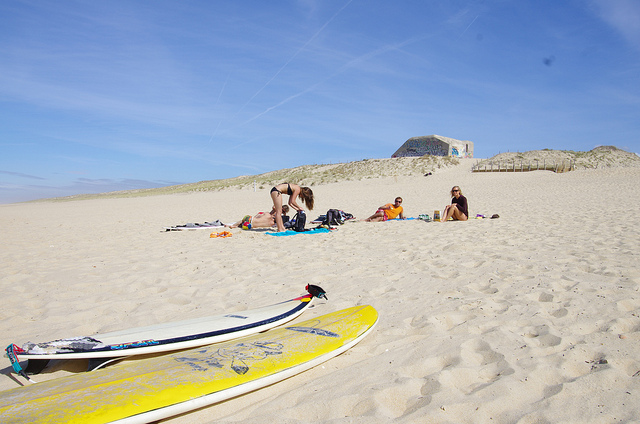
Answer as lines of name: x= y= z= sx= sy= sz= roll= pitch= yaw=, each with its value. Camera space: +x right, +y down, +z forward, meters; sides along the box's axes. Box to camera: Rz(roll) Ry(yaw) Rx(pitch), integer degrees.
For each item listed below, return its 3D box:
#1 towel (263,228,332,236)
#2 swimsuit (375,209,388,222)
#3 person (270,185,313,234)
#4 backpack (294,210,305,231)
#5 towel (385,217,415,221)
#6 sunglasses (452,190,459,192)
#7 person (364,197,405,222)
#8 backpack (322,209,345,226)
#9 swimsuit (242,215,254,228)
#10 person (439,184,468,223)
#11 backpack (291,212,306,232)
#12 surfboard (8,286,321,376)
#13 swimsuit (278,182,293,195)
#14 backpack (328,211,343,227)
towel: x=-0.564 y=0.577 z=9.885 sx=1.791 sy=0.195 sz=0.481 roll=1 pitch=4 yaw=-28
swimsuit: x=2.025 y=0.129 z=11.848 sx=0.364 sy=0.342 sz=0.199 roll=10 pitch=-1 yaw=-15
person: x=-0.769 y=-0.092 z=10.182 sx=1.096 sy=1.282 sz=0.568 roll=-1 pitch=3 yaw=-1
backpack: x=-0.573 y=0.247 z=10.096 sx=0.293 sy=0.571 sz=0.221 roll=-1 pitch=3 yaw=0
towel: x=2.663 y=0.252 z=11.806 sx=1.235 sy=0.057 sz=0.473 roll=-2 pitch=3 yaw=-34
sunglasses: x=4.112 y=-0.617 z=11.040 sx=0.171 sy=0.058 sz=0.041 roll=0 pitch=3 yaw=0
person: x=2.192 y=0.003 z=11.852 sx=1.363 sy=0.575 sz=0.651 roll=-8 pitch=41 yaw=-8
backpack: x=0.366 y=0.196 z=10.928 sx=0.437 sy=0.466 sz=0.876 roll=1 pitch=3 yaw=27
swimsuit: x=-2.193 y=0.306 z=10.997 sx=0.289 sy=0.152 sz=0.403 roll=8 pitch=-35 yaw=-18
person: x=4.063 y=-0.236 z=11.081 sx=0.799 sy=1.019 sz=0.431 roll=-1 pitch=3 yaw=1
backpack: x=-0.602 y=0.308 z=10.286 sx=0.493 sy=0.545 sz=0.345 roll=13 pitch=-13 yaw=2
surfboard: x=-1.875 y=1.457 z=4.393 sx=3.474 sy=0.383 sz=0.806 roll=-1 pitch=1 yaw=-41
swimsuit: x=-0.912 y=-0.626 z=10.058 sx=0.228 sy=0.320 sz=0.450 roll=-2 pitch=3 yaw=-24
backpack: x=0.434 y=0.218 z=10.927 sx=0.231 sy=0.442 sz=0.590 roll=2 pitch=3 yaw=40
